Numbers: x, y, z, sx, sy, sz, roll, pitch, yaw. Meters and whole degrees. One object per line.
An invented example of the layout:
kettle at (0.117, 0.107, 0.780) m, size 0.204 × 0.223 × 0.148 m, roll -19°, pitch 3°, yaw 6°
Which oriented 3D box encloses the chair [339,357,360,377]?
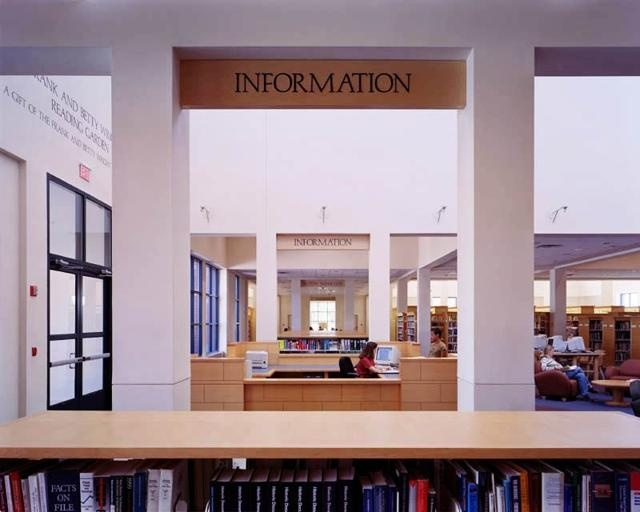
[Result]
chair at (0.495, 1.757, 9.342) m, size 0.265 × 0.408 × 0.275 m, roll -6°, pitch -8°, yaw 39°

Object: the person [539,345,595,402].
person at (5.035, 2.357, 11.979) m, size 0.659 × 1.364 × 0.954 m, roll 18°, pitch -32°, yaw -41°

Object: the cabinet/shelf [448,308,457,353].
cabinet/shelf at (4.292, 2.502, 19.118) m, size 0.292 × 1.219 × 1.206 m, roll -3°, pitch -4°, yaw 11°

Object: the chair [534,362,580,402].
chair at (4.615, 2.222, 11.398) m, size 0.522 × 0.665 × 0.485 m, roll -9°, pitch 11°, yaw 3°

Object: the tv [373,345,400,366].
tv at (1.121, 1.692, 9.903) m, size 0.349 × 0.411 × 0.260 m, roll -4°, pitch -10°, yaw 32°

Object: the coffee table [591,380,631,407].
coffee table at (5.637, 2.623, 11.321) m, size 0.545 × 0.548 × 1.755 m, roll -5°, pitch -4°, yaw 27°
